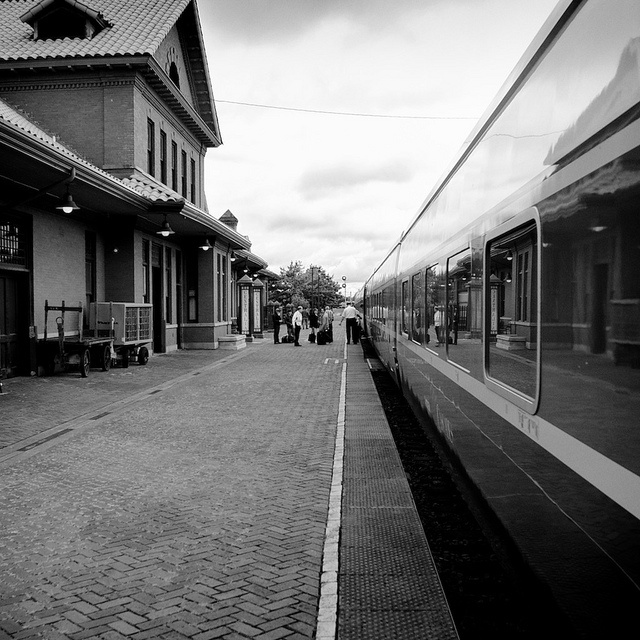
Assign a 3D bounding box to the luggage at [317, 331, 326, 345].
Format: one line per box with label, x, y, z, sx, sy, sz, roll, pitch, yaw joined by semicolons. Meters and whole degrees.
luggage;0.096;0.805;27.856;0.294;0.371;0.628;4;-30;2
